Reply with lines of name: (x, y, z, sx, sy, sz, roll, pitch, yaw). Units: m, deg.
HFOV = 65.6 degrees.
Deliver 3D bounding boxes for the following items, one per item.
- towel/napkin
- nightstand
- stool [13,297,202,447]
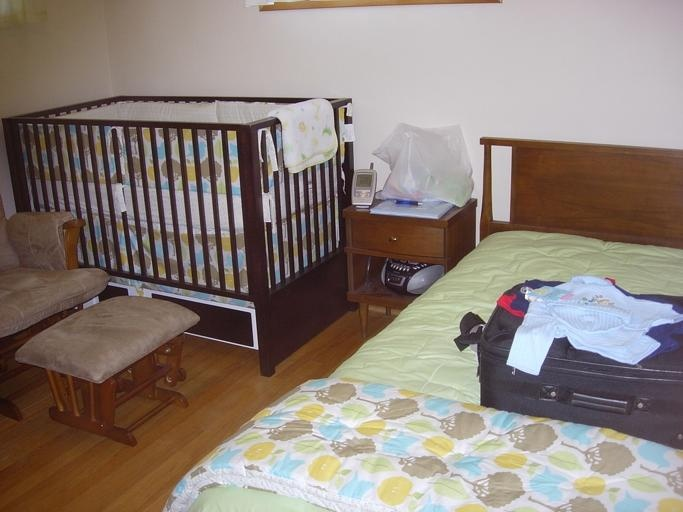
towel/napkin: (-0.213, -0.622, 2.834, 0.415, 0.397, 0.144, -21, 20, -40)
nightstand: (0.409, 0.081, 3.228, 0.623, 0.719, 0.541, 6, 14, 23)
stool: (-1.118, 0.546, 2.628, 0.556, 0.499, 0.746, 5, 14, 16)
